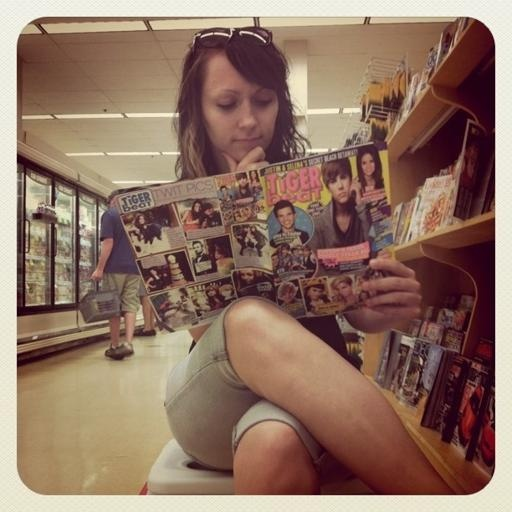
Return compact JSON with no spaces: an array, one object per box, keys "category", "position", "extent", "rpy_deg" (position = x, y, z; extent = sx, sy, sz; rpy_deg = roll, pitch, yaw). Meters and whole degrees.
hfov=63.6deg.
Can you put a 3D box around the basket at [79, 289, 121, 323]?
[{"category":"basket","position":[-0.550,0.173,1.480],"extent":[0.112,0.075,0.084],"rpy_deg":[-8,-12,-34]}]

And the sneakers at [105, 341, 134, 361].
[{"category":"sneakers","position":[-0.488,0.343,1.469],"extent":[0.119,0.057,0.046],"rpy_deg":[-11,-6,1]}]

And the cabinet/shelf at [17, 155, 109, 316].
[{"category":"cabinet/shelf","position":[-1.277,-0.118,2.657],"extent":[0.321,1.033,0.808],"rpy_deg":[1,7,16]}]
